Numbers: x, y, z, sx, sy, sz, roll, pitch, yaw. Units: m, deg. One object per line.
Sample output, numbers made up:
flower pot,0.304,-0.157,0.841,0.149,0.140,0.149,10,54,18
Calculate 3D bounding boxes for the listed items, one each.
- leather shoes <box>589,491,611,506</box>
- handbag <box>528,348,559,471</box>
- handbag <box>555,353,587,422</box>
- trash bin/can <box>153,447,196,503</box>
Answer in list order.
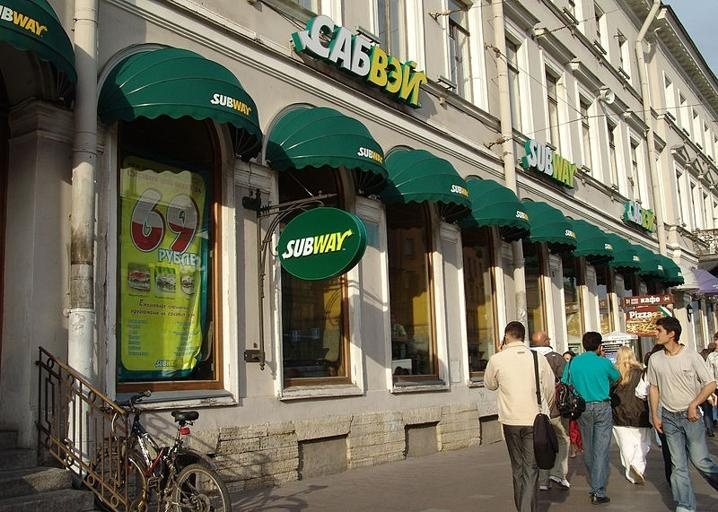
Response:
leather shoes,3.211,3.174,8.354,0.102,0.149,0.329,-2,0,44
handbag,2.166,1.789,7.402,0.277,1.360,0.280,-3,-9,16
handbag,2.929,1.793,8.681,0.512,0.998,0.376,22,-33,-28
trash bin/can,-2.115,2.390,7.173,0.384,0.694,0.321,0,-10,-7
